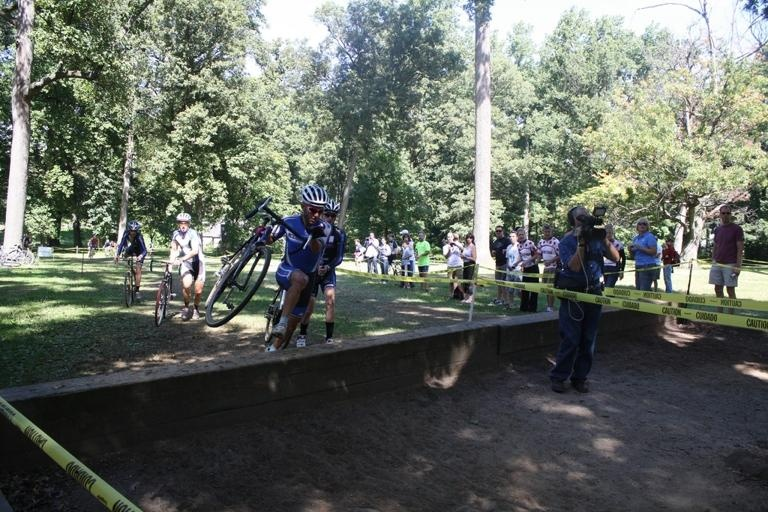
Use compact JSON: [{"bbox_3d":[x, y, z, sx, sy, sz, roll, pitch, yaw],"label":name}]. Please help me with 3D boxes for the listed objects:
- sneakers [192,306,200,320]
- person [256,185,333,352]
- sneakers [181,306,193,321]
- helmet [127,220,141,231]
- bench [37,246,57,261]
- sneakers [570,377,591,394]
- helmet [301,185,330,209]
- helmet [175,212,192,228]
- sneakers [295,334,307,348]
[{"bbox_3d":[-4.422,1.392,12.639,0.129,0.262,0.358,3,-5,-14],"label":"sneakers"},{"bbox_3d":[-1.457,0.323,8.838,1.075,2.966,1.511,-1,13,-5],"label":"person"},{"bbox_3d":[-4.686,1.386,12.611,0.153,0.208,0.470,8,-7,-15],"label":"sneakers"},{"bbox_3d":[-6.577,-0.791,13.972,0.272,0.302,0.564,-7,15,-30],"label":"helmet"},{"bbox_3d":[-20.583,-0.101,32.412,0.938,0.923,0.851,0,2,-39],"label":"bench"},{"bbox_3d":[3.136,2.094,8.587,0.139,0.147,0.334,-1,-5,-7],"label":"sneakers"},{"bbox_3d":[-1.140,-0.962,8.516,0.303,0.198,0.447,12,21,-37],"label":"helmet"},{"bbox_3d":[-4.556,-0.858,12.033,0.320,0.411,0.416,7,12,-11],"label":"helmet"},{"bbox_3d":[-1.514,1.531,9.624,0.283,0.184,0.402,3,-9,-18],"label":"sneakers"}]
